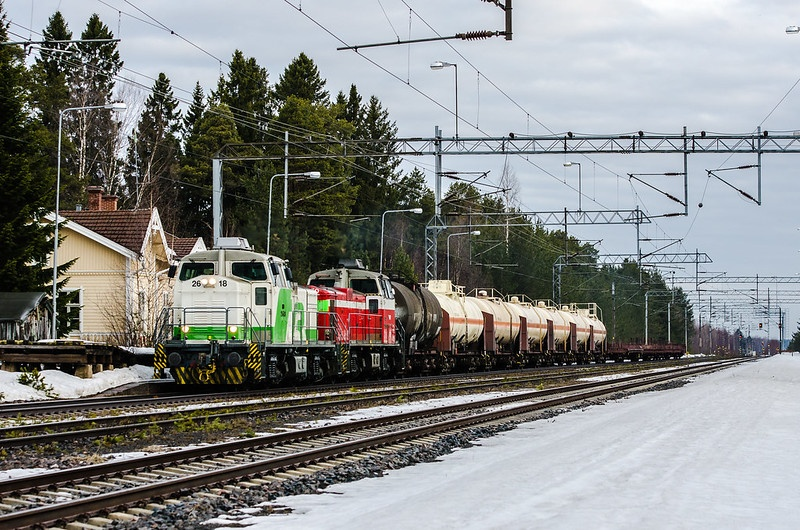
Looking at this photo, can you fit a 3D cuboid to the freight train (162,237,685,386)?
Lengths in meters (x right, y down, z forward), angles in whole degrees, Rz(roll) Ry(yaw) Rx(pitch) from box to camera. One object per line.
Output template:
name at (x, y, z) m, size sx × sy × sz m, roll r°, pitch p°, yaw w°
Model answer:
freight train at (1.443, 2.954, 48.123) m, size 6.096 × 4.736 × 35.313 m, roll -4°, pitch -8°, yaw 28°

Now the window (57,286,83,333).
window at (-13.975, 1.934, 41.968) m, size 1.123 × 1.916 × 0.124 m, roll 0°, pitch 2°, yaw -7°
